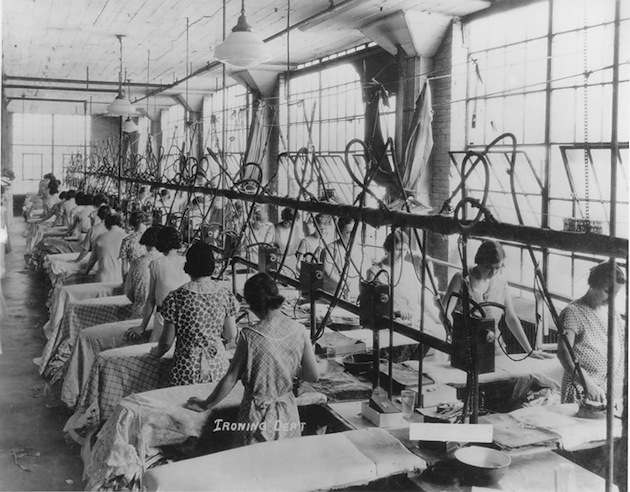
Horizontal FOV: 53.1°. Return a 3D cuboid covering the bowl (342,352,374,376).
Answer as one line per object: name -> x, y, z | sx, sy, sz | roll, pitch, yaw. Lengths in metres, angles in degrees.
bowl -> 0.276, 0.771, 4.093 | 0.188, 0.115, 0.284 | -2, 13, 3

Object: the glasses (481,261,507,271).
glasses -> 1.356, 0.158, 4.841 | 0.101, 0.057, 0.135 | 1, -10, -9

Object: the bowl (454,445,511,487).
bowl -> 0.844, 1.118, 3.175 | 0.281, 0.127, 0.216 | -1, 13, 6

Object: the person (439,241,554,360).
person -> 1.406, 0.431, 4.720 | 0.657, 1.147, 0.601 | -10, 19, -17
